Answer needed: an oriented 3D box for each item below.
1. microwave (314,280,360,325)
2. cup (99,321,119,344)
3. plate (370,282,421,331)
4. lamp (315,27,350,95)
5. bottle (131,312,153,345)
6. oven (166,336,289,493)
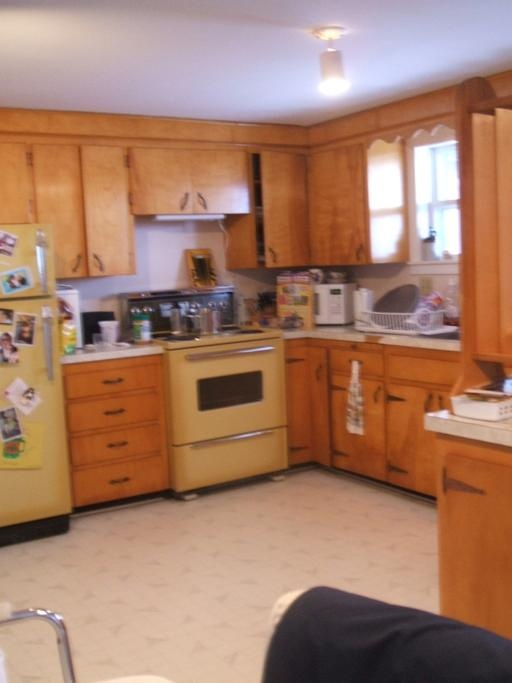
[{"bbox_3d":[0.521,-0.308,4.069,0.352,0.326,0.285,9,13,41],"label":"microwave"},{"bbox_3d":[-0.891,-0.064,3.507,0.142,0.160,0.141,-3,7,0],"label":"cup"},{"bbox_3d":[0.847,-0.220,3.543,0.299,0.255,0.642,-1,5,14],"label":"plate"},{"bbox_3d":[0.312,-1.169,2.379,0.130,0.216,0.123,-13,20,-18],"label":"lamp"},{"bbox_3d":[-0.732,-0.099,3.685,0.133,0.188,0.329,-4,6,-10],"label":"bottle"},{"bbox_3d":[-0.293,0.435,3.818,0.821,0.932,0.684,-5,4,-26],"label":"oven"}]
